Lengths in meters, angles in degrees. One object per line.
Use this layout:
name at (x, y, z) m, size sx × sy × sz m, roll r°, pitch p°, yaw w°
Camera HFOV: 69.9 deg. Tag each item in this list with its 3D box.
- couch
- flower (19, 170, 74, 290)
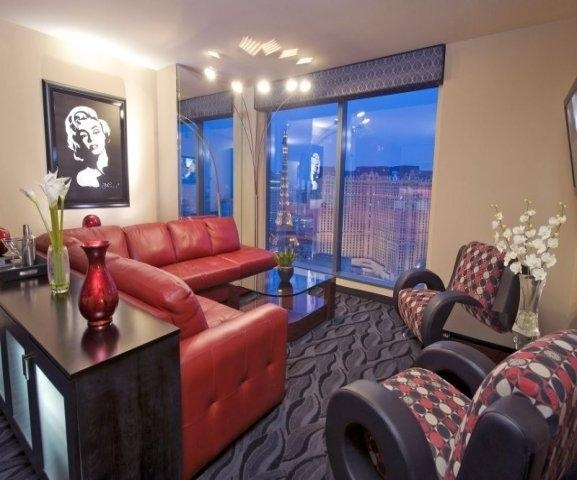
couch at (-0.388, 0.619, 3.150) m, size 1.264 × 1.193 × 1.904 m, roll 5°, pitch 10°, yaw 27°
flower at (-1.384, -0.017, 2.415) m, size 0.216 × 0.637 × 0.228 m, roll -5°, pitch 6°, yaw -27°
